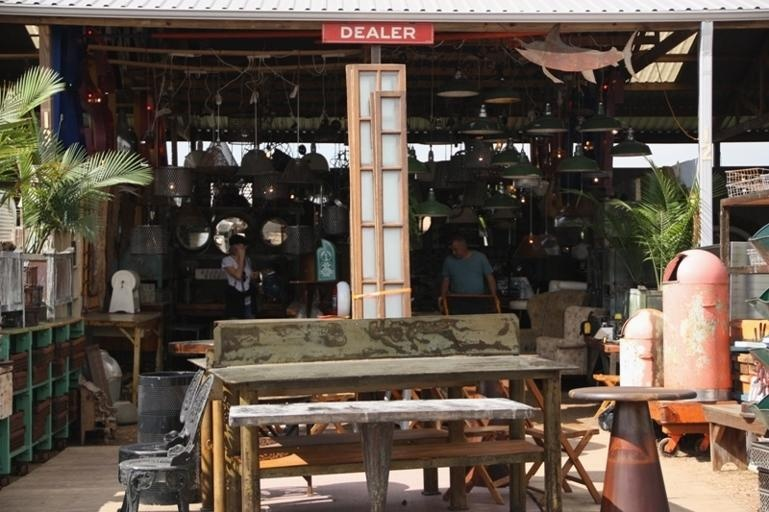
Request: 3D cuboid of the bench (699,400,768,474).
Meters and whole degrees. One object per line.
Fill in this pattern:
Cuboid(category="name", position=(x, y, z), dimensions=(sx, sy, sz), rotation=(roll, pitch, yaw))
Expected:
Cuboid(category="bench", position=(3.767, 1.928, 10.139), dimensions=(0.955, 0.612, 0.358), rotation=(1, -7, -11))

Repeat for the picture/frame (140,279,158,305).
Cuboid(category="picture/frame", position=(-3.648, 0.537, 14.647), dimensions=(0.272, 0.365, 0.187), rotation=(-4, 1, -10))

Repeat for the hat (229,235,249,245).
Cuboid(category="hat", position=(-2.286, -0.257, 14.709), dimensions=(0.218, 0.204, 0.192), rotation=(-5, -2, -7))

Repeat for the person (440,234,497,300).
Cuboid(category="person", position=(1.314, 0.187, 15.242), dimensions=(0.874, 1.683, 0.493), rotation=(-3, -10, 7))

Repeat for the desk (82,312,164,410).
Cuboid(category="desk", position=(-3.579, 1.669, 13.580), dimensions=(1.103, 1.614, 1.651), rotation=(-1, 0, 3))
